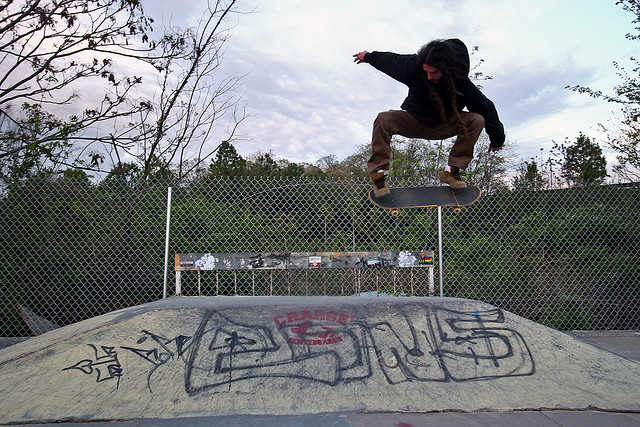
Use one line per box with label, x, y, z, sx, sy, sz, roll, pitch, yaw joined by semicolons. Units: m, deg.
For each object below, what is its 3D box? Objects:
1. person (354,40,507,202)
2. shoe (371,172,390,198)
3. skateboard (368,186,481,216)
person;1.347;-1.109;5.132;1.452;1.772;1.001;-5;-2;33
shoe;0.748;-0.369;5.252;0.146;0.367;0.267;-10;0;6
skateboard;1.176;-0.160;5.636;1.830;0.438;0.273;-1;-37;2
